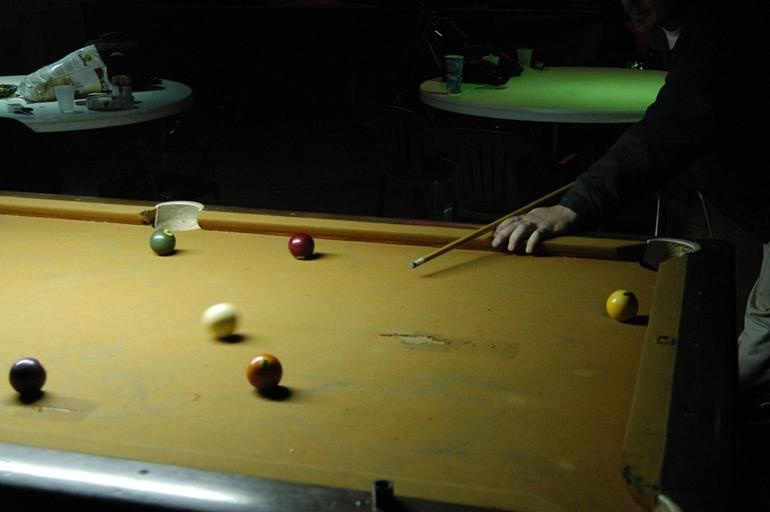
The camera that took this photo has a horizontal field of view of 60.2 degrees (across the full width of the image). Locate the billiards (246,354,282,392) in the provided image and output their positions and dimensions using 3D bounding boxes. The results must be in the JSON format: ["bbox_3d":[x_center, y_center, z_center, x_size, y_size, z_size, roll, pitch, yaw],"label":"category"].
[{"bbox_3d":[-0.307,0.297,1.690,0.093,0.085,0.062,-5,31,-12],"label":"billiards"}]

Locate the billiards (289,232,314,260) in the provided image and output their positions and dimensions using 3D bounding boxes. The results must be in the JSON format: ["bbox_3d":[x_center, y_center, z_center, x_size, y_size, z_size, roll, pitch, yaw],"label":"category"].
[{"bbox_3d":[-0.293,-0.029,2.374,0.099,0.083,0.092,7,-14,-31],"label":"billiards"}]

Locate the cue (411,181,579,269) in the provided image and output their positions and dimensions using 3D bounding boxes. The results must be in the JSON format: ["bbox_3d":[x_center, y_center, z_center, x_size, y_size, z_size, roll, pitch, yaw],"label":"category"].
[{"bbox_3d":[0.483,-0.134,2.757,1.138,0.103,0.058,-25,-5,-22],"label":"cue"}]

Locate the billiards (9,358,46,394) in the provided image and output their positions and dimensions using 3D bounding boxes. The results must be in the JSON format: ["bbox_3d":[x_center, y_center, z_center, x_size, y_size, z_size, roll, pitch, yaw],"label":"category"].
[{"bbox_3d":[-0.901,0.306,1.670,0.077,0.079,0.071,-17,35,-30],"label":"billiards"}]

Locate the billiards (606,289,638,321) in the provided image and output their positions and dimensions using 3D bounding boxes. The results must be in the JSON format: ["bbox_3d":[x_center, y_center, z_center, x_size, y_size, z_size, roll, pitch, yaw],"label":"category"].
[{"bbox_3d":[0.707,0.152,2.029,0.100,0.104,0.092,-15,21,-2],"label":"billiards"}]
